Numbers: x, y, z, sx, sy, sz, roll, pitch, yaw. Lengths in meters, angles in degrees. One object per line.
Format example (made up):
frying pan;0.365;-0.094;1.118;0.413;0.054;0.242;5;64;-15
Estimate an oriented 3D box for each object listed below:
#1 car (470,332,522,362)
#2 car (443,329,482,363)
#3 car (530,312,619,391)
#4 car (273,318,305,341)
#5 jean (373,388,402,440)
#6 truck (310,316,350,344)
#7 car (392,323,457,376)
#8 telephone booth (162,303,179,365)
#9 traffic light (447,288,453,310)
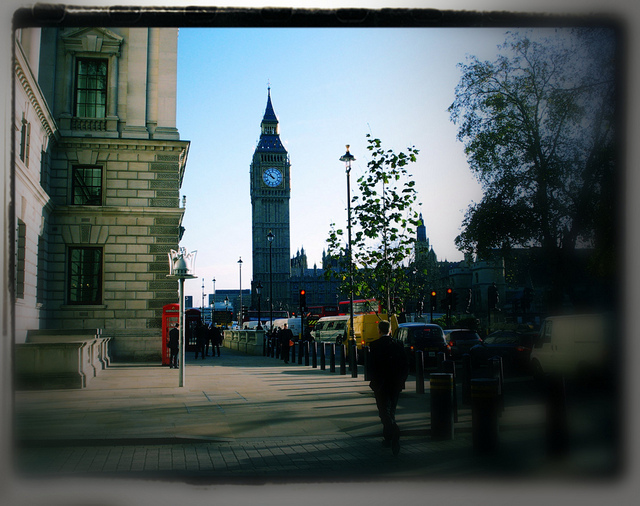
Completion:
car;6.371;3.330;30.831;0.873;0.798;1.817;2;-5;-29
car;5.714;3.621;34.257;0.958;0.893;1.724;0;-3;-3
car;6.995;2.648;23.571;2.020;1.953;3.708;3;-7;-13
car;-2.255;5.753;65.865;1.487;1.942;3.991;2;-2;-24
jean;1.275;3.016;16.043;0.490;0.939;0.507;-1;-4;4
truck;0.570;4.578;51.665;0.958;1.518;5.690;0;-5;-11
car;3.711;3.322;29.094;1.780;1.869;3.541;0;-4;-4
telephone booth;-5.926;3.129;33.511;0.584;2.396;1.131;0;-4;-11
traffic light;5.970;2.078;39.252;0.245;0.844;0.965;-1;-5;7
